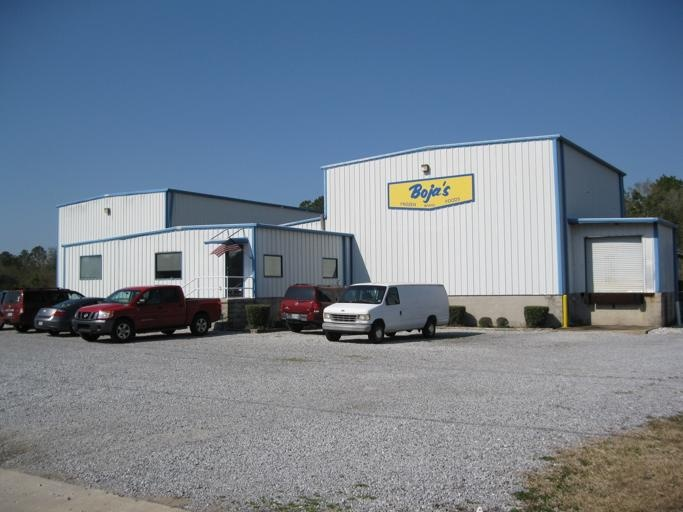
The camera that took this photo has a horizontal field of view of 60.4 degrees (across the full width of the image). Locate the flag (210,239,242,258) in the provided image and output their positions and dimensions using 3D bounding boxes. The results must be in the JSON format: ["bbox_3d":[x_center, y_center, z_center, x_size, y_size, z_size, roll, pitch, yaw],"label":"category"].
[{"bbox_3d":[-5.004,-0.349,25.690,1.067,0.171,1.005,-3,32,7],"label":"flag"}]

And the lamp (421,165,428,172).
[{"bbox_3d":[4.241,-4.455,29.673,0.284,0.304,0.150,-5,-8,35],"label":"lamp"}]

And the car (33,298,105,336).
[{"bbox_3d":[-9.835,2.071,21.142,1.167,0.966,2.681,-1,0,29],"label":"car"}]

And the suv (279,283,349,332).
[{"bbox_3d":[-0.868,1.815,22.613,1.189,1.254,2.386,-1,1,29],"label":"suv"}]

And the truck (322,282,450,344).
[{"bbox_3d":[1.640,1.864,19.951,4.647,2.076,1.432,6,-10,-40],"label":"truck"}]
